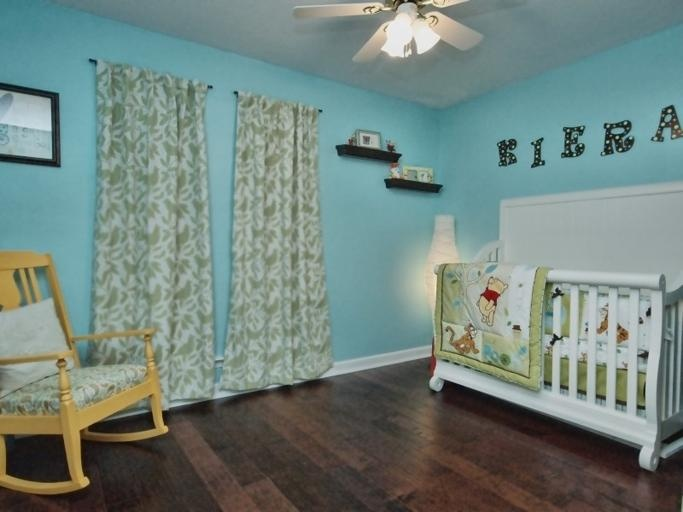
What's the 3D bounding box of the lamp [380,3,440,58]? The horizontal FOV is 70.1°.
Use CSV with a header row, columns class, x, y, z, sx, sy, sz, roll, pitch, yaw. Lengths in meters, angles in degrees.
class,x,y,z,sx,sy,sz,roll,pitch,yaw
lamp,0.402,-1.285,2.848,0.324,0.139,0.330,2,11,45
